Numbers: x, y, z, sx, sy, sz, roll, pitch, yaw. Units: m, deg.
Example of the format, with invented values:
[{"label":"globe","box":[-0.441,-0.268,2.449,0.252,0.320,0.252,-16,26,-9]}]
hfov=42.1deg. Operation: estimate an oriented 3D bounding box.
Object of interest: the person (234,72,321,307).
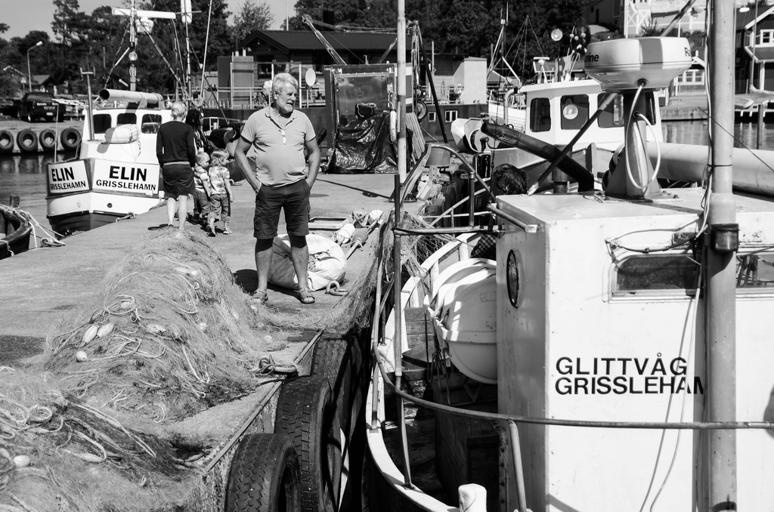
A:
[{"label":"person","box":[-1.100,-0.637,10.294,0.849,2.396,0.502,-4,9,-15]}]

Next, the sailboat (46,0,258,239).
[{"label":"sailboat","box":[-4.938,-2.147,21.552,2.330,3.435,8.186,0,11,1]}]
